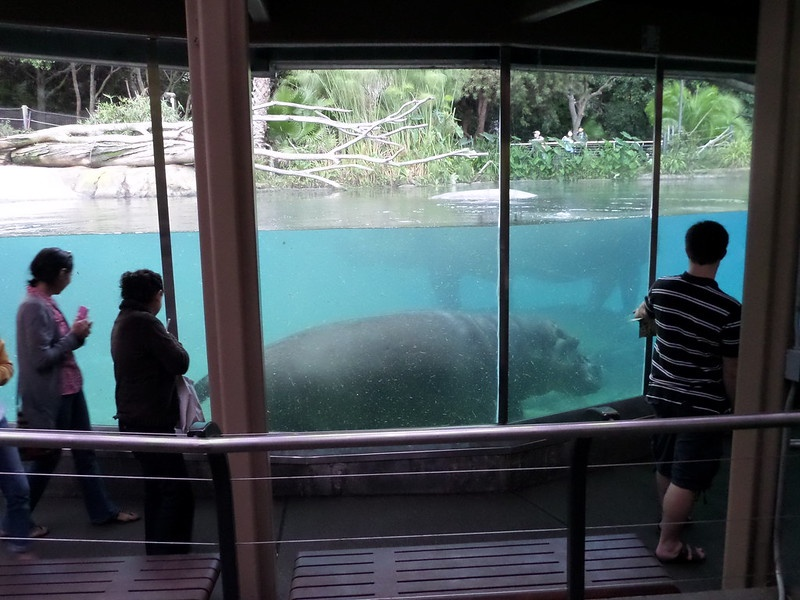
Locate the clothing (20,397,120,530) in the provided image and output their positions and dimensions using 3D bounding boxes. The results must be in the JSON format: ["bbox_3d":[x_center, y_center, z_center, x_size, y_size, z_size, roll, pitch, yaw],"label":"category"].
[{"bbox_3d":[-1.534,0.757,3.019,0.615,0.726,0.181,10,32,-8],"label":"clothing"}]

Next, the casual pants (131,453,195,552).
[{"bbox_3d":[-0.964,0.831,2.669,0.159,0.499,0.119,-14,61,-26],"label":"casual pants"}]
